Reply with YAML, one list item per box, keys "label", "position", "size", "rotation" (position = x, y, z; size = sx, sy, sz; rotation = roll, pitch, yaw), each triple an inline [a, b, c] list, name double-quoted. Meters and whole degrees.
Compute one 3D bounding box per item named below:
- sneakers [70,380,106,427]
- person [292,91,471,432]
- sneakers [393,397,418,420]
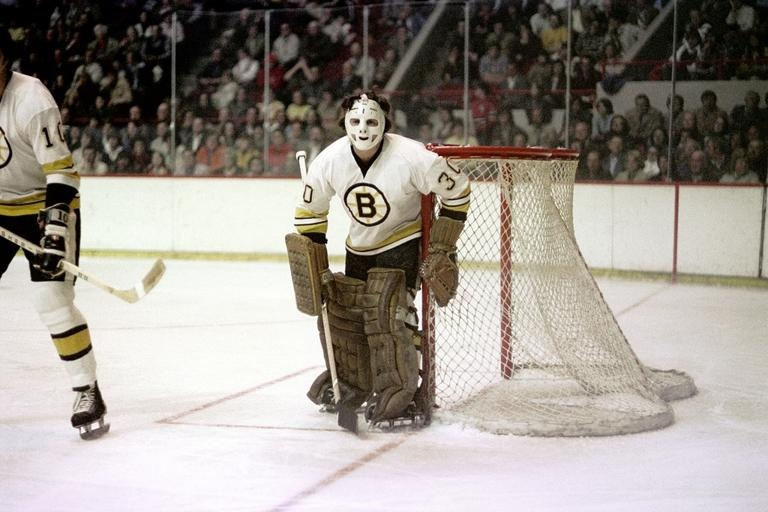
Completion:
- label: "sneakers"
  position: [-1.819, 0.904, 5.083]
  size: [0.122, 0.227, 0.340]
  rotation: [-14, 2, 12]
- label: "person"
  position: [-0.055, 0.003, 5.241]
  size: [1.167, 2.056, 0.643]
  rotation: [0, 11, 4]
- label: "sneakers"
  position: [0.132, 0.957, 5.190]
  size: [0.121, 0.119, 0.125]
  rotation: [4, -6, -37]
